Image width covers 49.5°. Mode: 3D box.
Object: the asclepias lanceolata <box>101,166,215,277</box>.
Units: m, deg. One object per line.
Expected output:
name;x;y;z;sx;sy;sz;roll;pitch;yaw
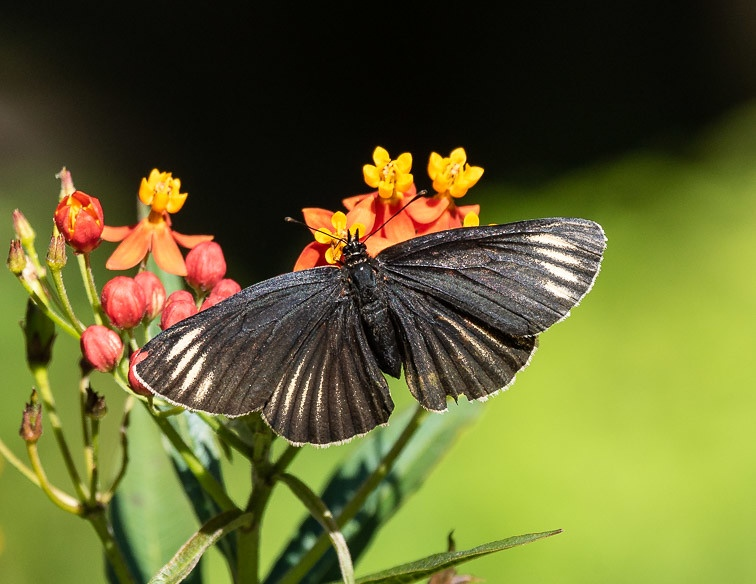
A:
asclepias lanceolata;-0.451;-0.137;1.689;0.200;0.257;0.172;7;-102;-21

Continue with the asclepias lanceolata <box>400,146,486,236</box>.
asclepias lanceolata;0.144;-0.210;1.757;0.167;0.094;0.182;3;-75;6

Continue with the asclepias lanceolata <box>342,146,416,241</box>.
asclepias lanceolata;0.017;-0.190;1.677;0.164;0.070;0.185;-8;-86;-6
